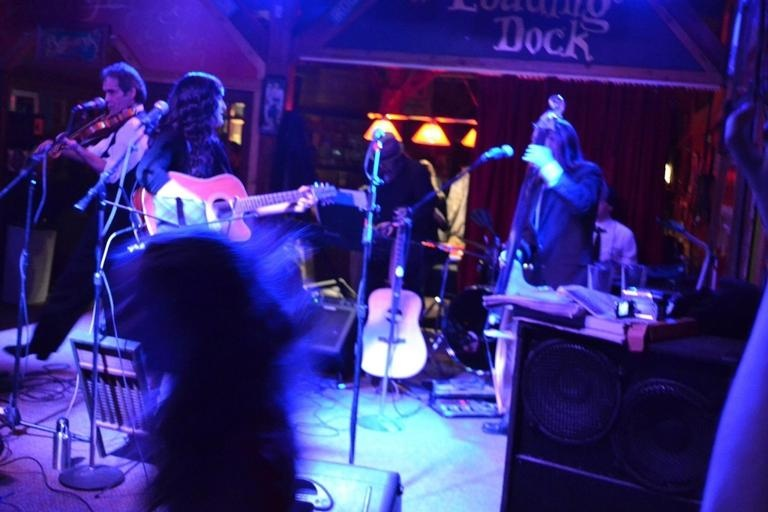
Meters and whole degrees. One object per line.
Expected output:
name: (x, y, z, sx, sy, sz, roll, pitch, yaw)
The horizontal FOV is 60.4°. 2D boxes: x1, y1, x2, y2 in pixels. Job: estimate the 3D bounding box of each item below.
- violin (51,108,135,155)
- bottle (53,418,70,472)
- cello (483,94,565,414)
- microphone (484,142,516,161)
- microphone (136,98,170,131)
violin: (-1.957, -0.912, 4.736, 0.756, 0.139, 0.309, -30, 21, -22)
bottle: (-2.101, 1.220, 4.282, 0.113, 0.331, 0.149, 4, 5, -27)
cello: (0.982, -0.035, 4.946, 0.364, 2.395, 0.852, 12, 0, -6)
microphone: (0.818, -0.732, 4.696, 0.183, 0.141, 0.542, 8, 4, 12)
microphone: (-1.544, -0.914, 4.353, 0.192, 0.212, 0.248, 4, 5, -29)
